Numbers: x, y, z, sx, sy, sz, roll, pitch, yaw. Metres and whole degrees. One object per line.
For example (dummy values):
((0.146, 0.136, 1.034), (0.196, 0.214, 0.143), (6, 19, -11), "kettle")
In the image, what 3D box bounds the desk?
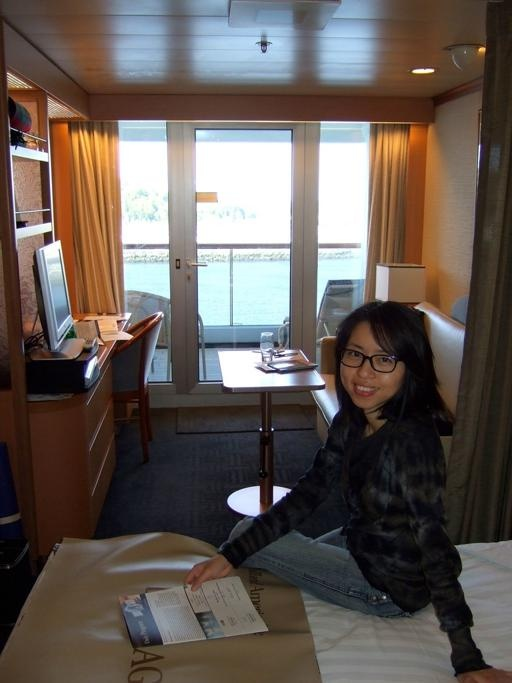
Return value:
((-0.912, 0.459, 2.490), (0.332, 0.622, 1.124), (-2, 9, -7), "desk")

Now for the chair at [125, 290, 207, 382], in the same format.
((-0.807, -0.067, 5.188), (0.818, 1.066, 0.715), (0, 8, -3), "chair")

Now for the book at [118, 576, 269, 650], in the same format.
((-0.145, 0.609, 1.190), (0.297, 0.013, 0.241), (2, 1, -21), "book")

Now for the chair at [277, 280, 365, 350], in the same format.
((0.591, -0.225, 5.127), (0.472, 0.829, 0.484), (18, 15, 39), "chair")
